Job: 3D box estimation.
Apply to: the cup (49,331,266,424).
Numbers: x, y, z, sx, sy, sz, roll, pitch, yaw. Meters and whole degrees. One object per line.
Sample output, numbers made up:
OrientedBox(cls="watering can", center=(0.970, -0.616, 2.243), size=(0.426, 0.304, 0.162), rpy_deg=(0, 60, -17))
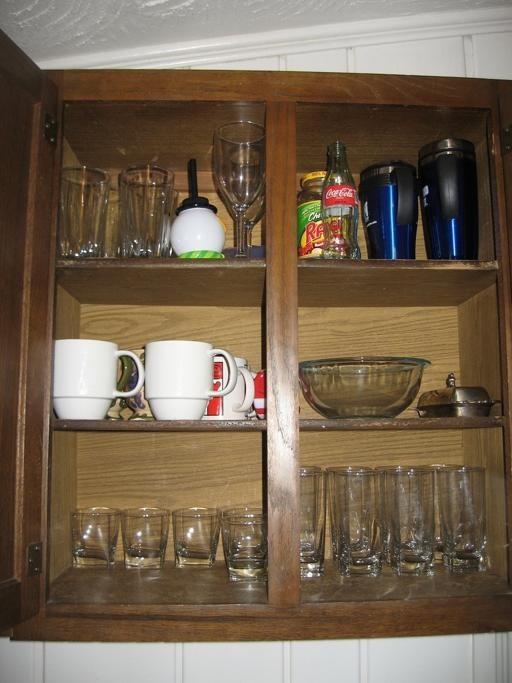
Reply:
OrientedBox(cls="cup", center=(-0.162, 0.064, 1.101), size=(0.305, 0.124, 0.122), rpy_deg=(3, -15, -7))

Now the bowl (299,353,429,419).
OrientedBox(cls="bowl", center=(0.173, 0.099, 1.088), size=(0.137, 0.054, 0.137), rpy_deg=(-2, -13, 0))
